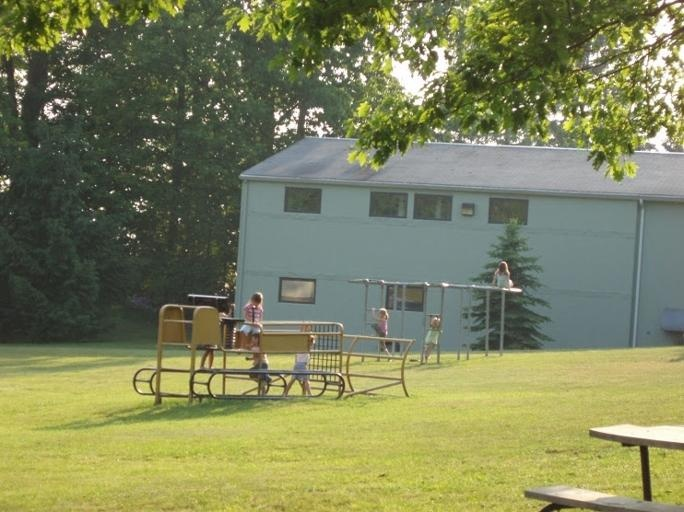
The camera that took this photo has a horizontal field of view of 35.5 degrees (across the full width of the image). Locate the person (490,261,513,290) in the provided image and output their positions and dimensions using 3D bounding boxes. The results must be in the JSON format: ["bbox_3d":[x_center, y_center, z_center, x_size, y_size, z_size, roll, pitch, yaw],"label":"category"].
[{"bbox_3d":[4.490,0.587,30.062,0.549,0.863,0.509,10,28,24],"label":"person"}]
